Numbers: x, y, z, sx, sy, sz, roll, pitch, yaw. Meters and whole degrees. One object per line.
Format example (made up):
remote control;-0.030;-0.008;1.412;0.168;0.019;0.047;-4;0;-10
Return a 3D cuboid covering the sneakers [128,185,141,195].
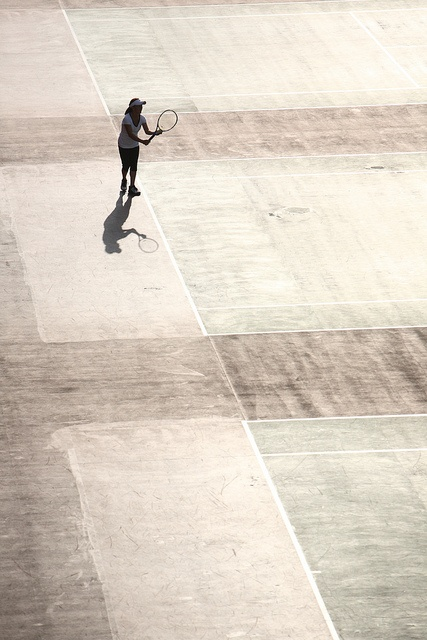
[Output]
sneakers;-1.234;-2.010;13.958;0.118;0.114;0.187;-4;9;-14
